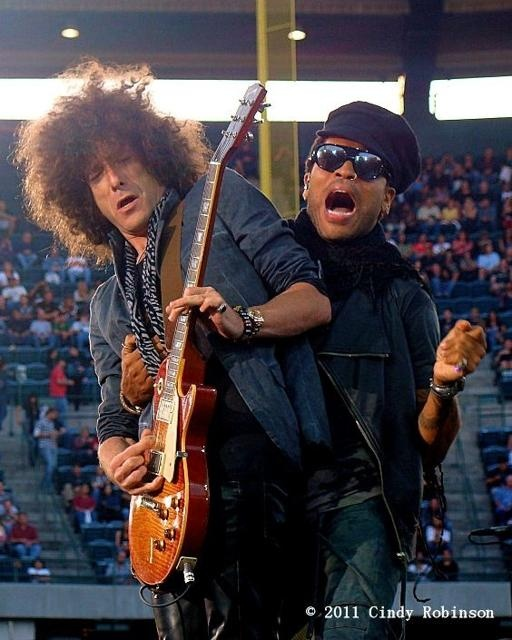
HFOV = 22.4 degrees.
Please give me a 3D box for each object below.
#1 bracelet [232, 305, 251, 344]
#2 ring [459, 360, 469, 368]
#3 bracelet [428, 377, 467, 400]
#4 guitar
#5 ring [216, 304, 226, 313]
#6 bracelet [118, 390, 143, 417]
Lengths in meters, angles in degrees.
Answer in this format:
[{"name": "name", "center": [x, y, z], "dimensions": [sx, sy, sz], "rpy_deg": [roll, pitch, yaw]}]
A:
[{"name": "bracelet", "center": [-0.042, 0.020, 5.966], "dimensions": [0.058, 0.131, 0.112], "rpy_deg": [-13, -3, -3]}, {"name": "ring", "center": [0.982, 0.210, 6.055], "dimensions": [0.039, 0.044, 0.024], "rpy_deg": [-4, -1, 4]}, {"name": "bracelet", "center": [0.930, 0.339, 6.293], "dimensions": [0.122, 0.059, 0.137], "rpy_deg": [11, -7, -16]}, {"name": "guitar", "center": [-0.278, 0.081, 6.132], "dimensions": [0.820, 2.267, 0.397], "rpy_deg": [-5, -1, -3]}, {"name": "ring", "center": [-0.149, -0.049, 5.911], "dimensions": [0.050, 0.015, 0.035], "rpy_deg": [-28, 0, 25]}, {"name": "bracelet", "center": [-0.635, 0.440, 6.589], "dimensions": [0.047, 0.131, 0.127], "rpy_deg": [-50, -2, -25]}]
